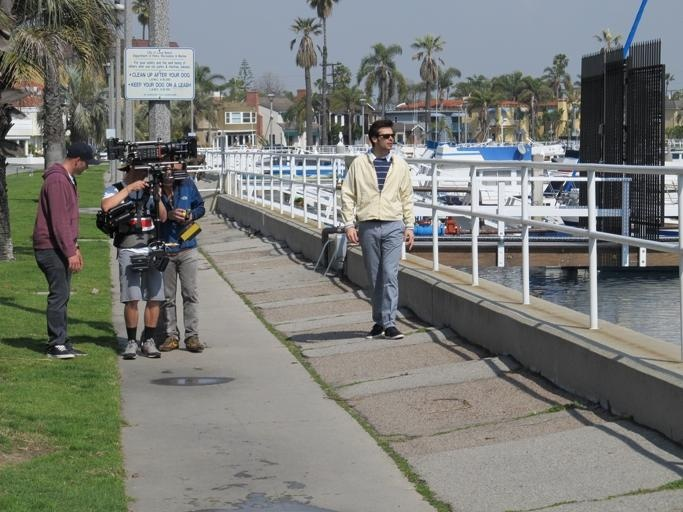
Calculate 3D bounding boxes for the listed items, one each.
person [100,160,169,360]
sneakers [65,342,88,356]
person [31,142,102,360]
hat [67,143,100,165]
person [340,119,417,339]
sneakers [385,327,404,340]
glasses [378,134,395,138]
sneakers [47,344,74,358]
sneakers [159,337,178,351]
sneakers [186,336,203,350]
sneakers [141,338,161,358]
[{"bbox_3d":[-2.208,0.082,10.155,0.670,2.007,0.583,-2,9,-12],"label":"person"},{"bbox_3d":[-2.790,0.971,9.928,0.245,0.108,0.089,9,8,5],"label":"sneakers"},{"bbox_3d":[-2.859,-0.049,9.795,0.631,2.174,0.505,-3,9,-20],"label":"person"},{"bbox_3d":[-2.663,-1.036,9.796,0.304,0.203,0.225,6,11,-30],"label":"hat"},{"bbox_3d":[0.384,-0.279,10.508,0.786,2.358,0.405,0,9,1],"label":"person"},{"bbox_3d":[0.581,0.852,10.475,0.099,0.099,0.230,0,-3,-23],"label":"sneakers"},{"bbox_3d":[0.489,-1.294,10.402,0.095,0.051,0.217,8,13,41],"label":"glasses"},{"bbox_3d":[-2.897,0.968,9.745,0.254,0.119,0.119,1,2,7],"label":"sneakers"},{"bbox_3d":[-1.927,0.953,10.553,0.123,0.090,0.186,2,9,17],"label":"sneakers"},{"bbox_3d":[-1.649,0.959,10.511,0.203,0.159,0.203,-1,9,-3],"label":"sneakers"},{"bbox_3d":[-2.072,0.993,10.226,0.110,0.141,0.284,0,0,-31],"label":"sneakers"}]
